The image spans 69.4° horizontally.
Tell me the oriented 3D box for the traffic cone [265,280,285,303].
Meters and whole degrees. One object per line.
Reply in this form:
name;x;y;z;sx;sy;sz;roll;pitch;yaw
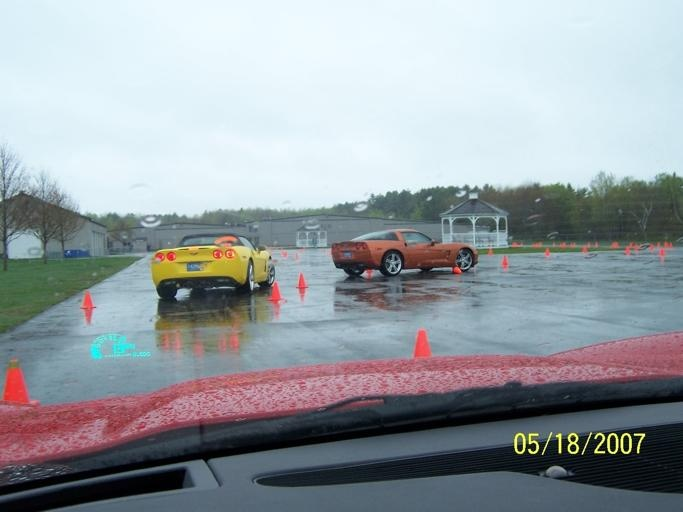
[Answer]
traffic cone;-1.614;0.919;12.075;0.485;0.561;0.482;0;5;-6

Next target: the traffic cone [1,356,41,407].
traffic cone;-2.929;1.174;4.528;0.267;0.381;0.483;1;-3;-34

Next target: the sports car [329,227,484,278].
sports car;2.190;-0.047;18.268;4.407;1.888;3.314;0;1;42

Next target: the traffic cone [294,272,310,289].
traffic cone;-1.097;0.869;14.646;0.459;0.581;0.432;-6;12;-19
